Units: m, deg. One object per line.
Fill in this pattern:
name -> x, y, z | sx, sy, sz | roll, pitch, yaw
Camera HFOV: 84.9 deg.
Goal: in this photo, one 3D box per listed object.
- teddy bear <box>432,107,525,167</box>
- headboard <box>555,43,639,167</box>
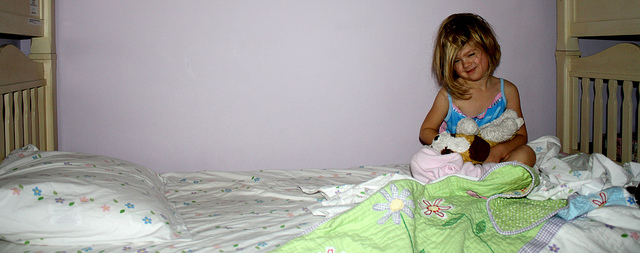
teddy bear -> 1.531, 0.104, 3.248 | 0.867, 0.299, 0.425 | -13, -3, -2
headboard -> 2.741, -0.186, 3.736 | 0.992, 1.266, 0.557 | 1, -1, 3
